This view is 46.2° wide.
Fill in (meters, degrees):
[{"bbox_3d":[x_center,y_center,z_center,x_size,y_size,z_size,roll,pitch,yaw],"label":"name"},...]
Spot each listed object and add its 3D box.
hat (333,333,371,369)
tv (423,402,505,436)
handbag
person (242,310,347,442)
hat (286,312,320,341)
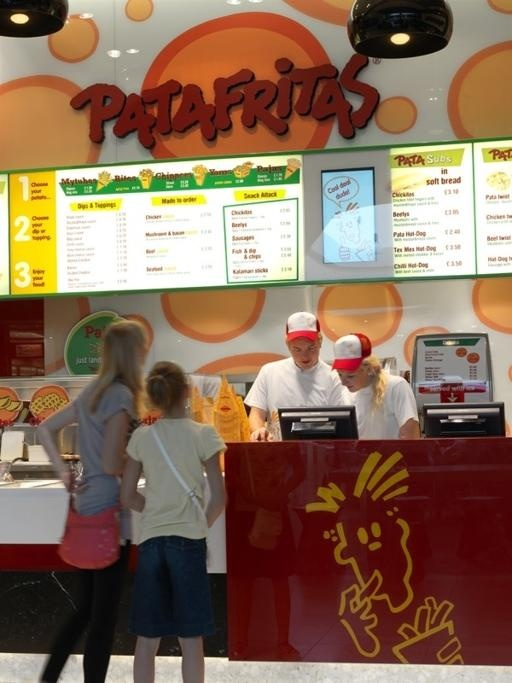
[{"bbox_3d":[0.413,0.039,2.600,0.117,0.087,0.183,5,22,33],"label":"hat"},{"bbox_3d":[0.707,0.268,2.046,0.258,0.120,0.042,0,1,13],"label":"tv"},{"bbox_3d":[-0.510,0.603,1.832,0.199,0.197,0.068,0,1,12],"label":"handbag"},{"bbox_3d":[0.200,0.250,2.862,0.568,0.727,0.408,4,1,1],"label":"person"},{"bbox_3d":[0.223,-0.072,2.760,0.158,0.133,0.128,-1,2,-21],"label":"hat"}]
